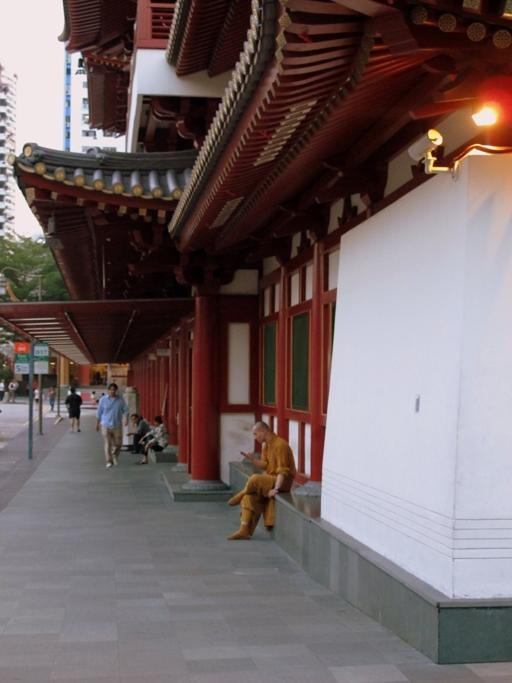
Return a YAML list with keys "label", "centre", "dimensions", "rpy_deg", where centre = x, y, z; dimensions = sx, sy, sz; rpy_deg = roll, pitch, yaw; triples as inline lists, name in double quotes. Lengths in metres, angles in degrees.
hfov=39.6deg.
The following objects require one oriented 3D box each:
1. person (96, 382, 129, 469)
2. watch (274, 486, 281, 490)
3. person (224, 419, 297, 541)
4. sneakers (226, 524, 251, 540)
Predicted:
- label: "person"
  centre: [-3.201, 1.888, 15.577]
  dimensions: [0.596, 1.700, 1.423]
  rpy_deg: [3, -3, -10]
- label: "watch"
  centre: [0.215, 1.532, 7.440]
  dimensions: [0.054, 0.015, 0.054]
  rpy_deg: [2, -5, -33]
- label: "person"
  centre: [0.082, 1.499, 7.719]
  dimensions: [0.781, 1.147, 0.604]
  rpy_deg: [1, -10, -13]
- label: "sneakers"
  centre: [-0.215, 2.084, 7.844]
  dimensions: [0.344, 0.233, 0.120]
  rpy_deg: [0, -4, -2]
